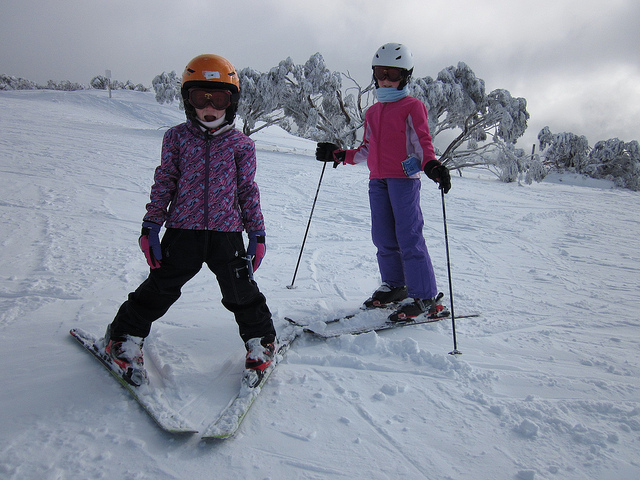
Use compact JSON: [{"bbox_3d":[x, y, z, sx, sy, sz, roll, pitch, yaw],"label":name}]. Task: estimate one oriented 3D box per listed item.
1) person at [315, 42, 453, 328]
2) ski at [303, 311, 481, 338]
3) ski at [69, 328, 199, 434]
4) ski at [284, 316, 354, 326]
[{"bbox_3d":[0.662,-0.497,4.224,0.512,2.309,1.235,-6,17,-39],"label":"person"},{"bbox_3d":[0.556,0.710,4.017,1.636,0.078,0.229,-1,7,-28],"label":"ski"},{"bbox_3d":[-1.211,0.922,3.069,0.149,0.075,1.330,7,14,-46],"label":"ski"},{"bbox_3d":[0.006,0.680,3.977,0.581,0.031,0.193,1,14,-16],"label":"ski"}]
